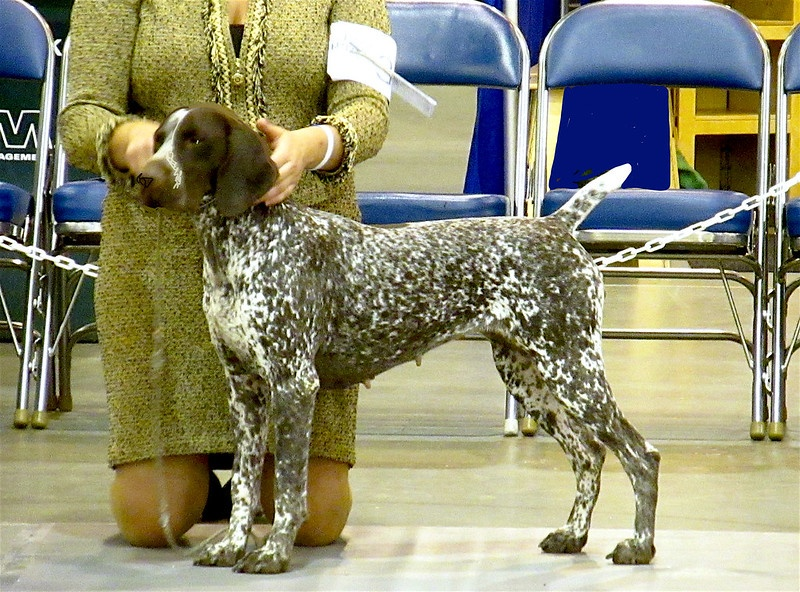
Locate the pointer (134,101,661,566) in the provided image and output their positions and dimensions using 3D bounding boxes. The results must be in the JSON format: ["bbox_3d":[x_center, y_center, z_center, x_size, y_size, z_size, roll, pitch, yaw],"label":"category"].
[{"bbox_3d":[-0.024,0.099,2.517,1.339,0.969,0.352,3,-3,-30],"label":"pointer"}]

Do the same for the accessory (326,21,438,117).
[{"bbox_3d":[-0.058,-0.513,2.690,0.296,0.163,0.074,22,-31,-21],"label":"accessory"}]
